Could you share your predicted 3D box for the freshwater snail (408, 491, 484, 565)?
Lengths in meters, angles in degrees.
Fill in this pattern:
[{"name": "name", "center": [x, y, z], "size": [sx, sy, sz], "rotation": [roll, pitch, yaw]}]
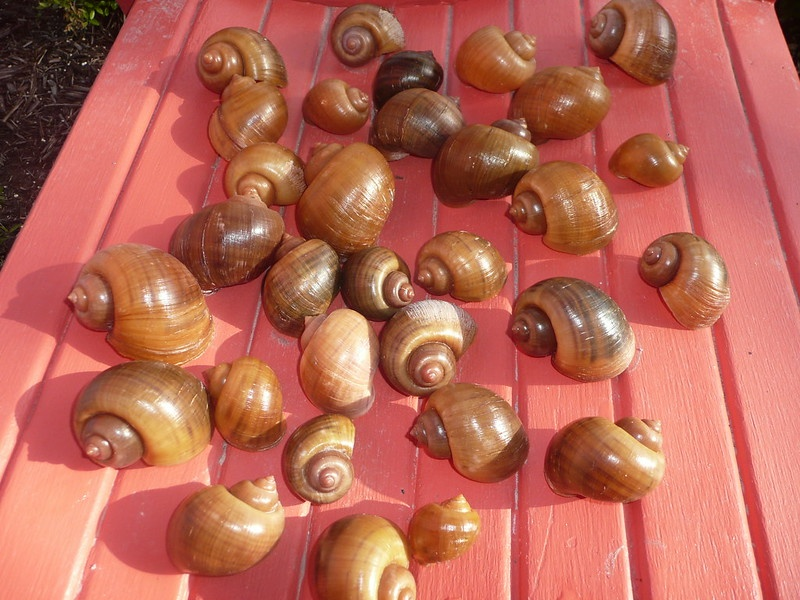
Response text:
[{"name": "freshwater snail", "center": [0.100, 0.516, 1.526], "size": [0.126, 0.107, 0.175], "rotation": [25, -71, -25]}]
